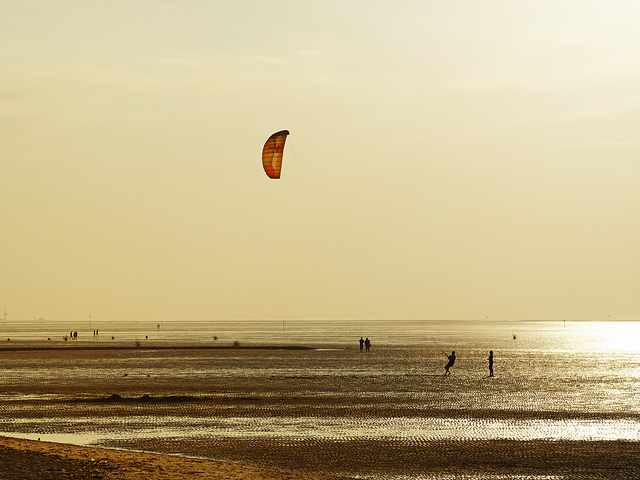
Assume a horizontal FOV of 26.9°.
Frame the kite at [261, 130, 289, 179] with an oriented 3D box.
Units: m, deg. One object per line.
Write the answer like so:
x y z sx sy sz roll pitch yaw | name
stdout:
-3.084 -5.673 88.405 1.500 3.001 3.179 0 0 -2 | kite
